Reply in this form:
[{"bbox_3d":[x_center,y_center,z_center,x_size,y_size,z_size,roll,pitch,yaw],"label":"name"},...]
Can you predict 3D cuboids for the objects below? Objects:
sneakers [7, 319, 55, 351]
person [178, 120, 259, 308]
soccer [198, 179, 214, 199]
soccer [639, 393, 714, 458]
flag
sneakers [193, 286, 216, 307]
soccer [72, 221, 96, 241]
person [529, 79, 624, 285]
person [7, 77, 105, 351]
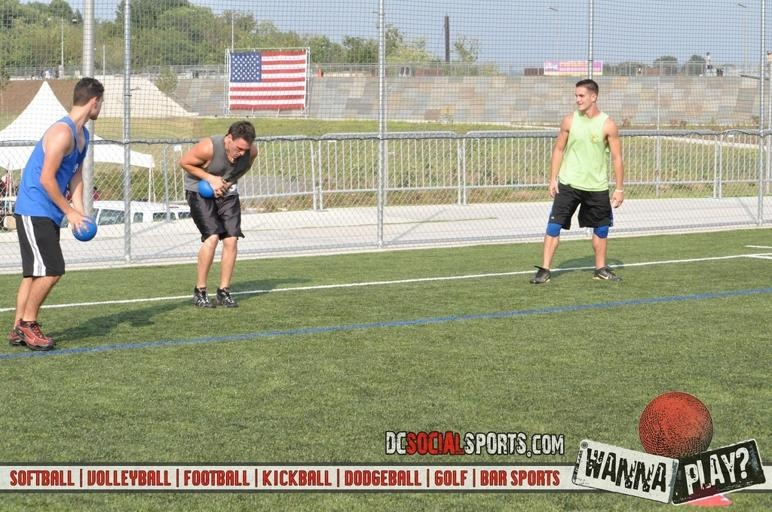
[{"bbox_3d":[-3.176,0.730,7.033,0.476,0.258,0.211,10,8,18],"label":"sneakers"},{"bbox_3d":[-1.818,-0.443,8.644,0.861,2.040,0.599,-1,10,1],"label":"person"},{"bbox_3d":[-1.936,-0.712,8.490,0.228,0.202,0.106,6,12,29],"label":"soccer"},{"bbox_3d":[1.743,1.030,4.746,0.366,0.394,0.206,-10,-14,13],"label":"soccer"},{"bbox_3d":[-2.300,-3.424,15.211,1.145,0.870,0.149,1,48,-1],"label":"flag"},{"bbox_3d":[-2.026,0.466,8.721,0.128,0.158,0.328,-3,5,-30],"label":"sneakers"},{"bbox_3d":[-2.706,-0.227,7.041,0.159,0.139,0.142,-27,48,-2],"label":"soccer"},{"bbox_3d":[2.411,-0.915,9.780,1.011,2.482,0.873,2,10,17],"label":"person"},{"bbox_3d":[-2.978,-0.367,7.031,0.865,2.375,0.552,2,10,13],"label":"person"}]
